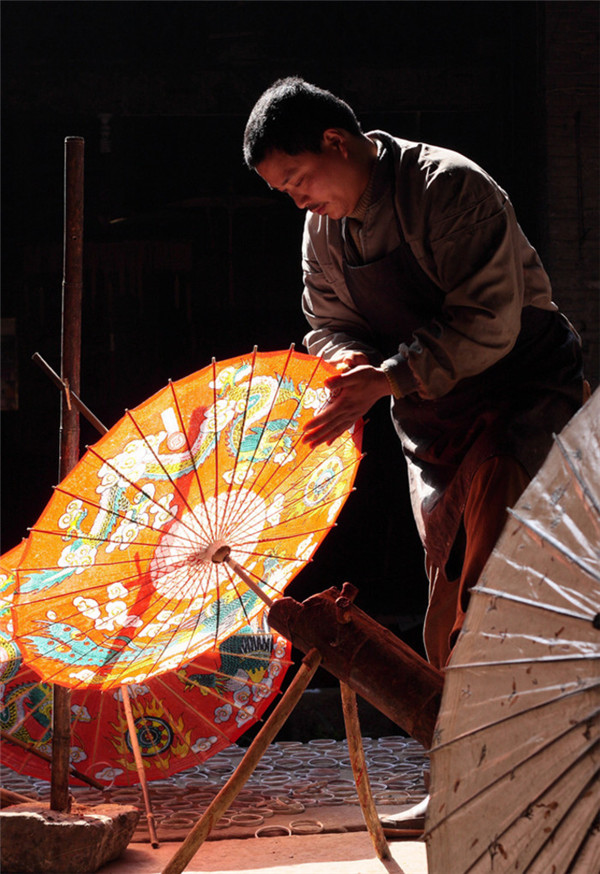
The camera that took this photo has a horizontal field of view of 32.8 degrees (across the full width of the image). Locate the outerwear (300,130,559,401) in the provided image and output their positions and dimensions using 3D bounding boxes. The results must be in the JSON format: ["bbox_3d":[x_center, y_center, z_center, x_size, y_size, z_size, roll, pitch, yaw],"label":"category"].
[{"bbox_3d":[0.231,-0.403,2.359,0.617,0.688,0.427,-6,-9,29],"label":"outerwear"}]

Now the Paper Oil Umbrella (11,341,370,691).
[{"bbox_3d":[-0.284,0.221,2.130,0.871,0.792,0.244,-17,50,-39],"label":"Paper Oil Umbrella"}]

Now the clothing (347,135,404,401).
[{"bbox_3d":[0.204,-0.399,2.394,0.191,0.596,0.211,-2,19,11],"label":"clothing"}]

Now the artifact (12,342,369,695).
[{"bbox_3d":[-0.295,0.200,2.123,0.875,0.791,0.245,-16,50,-41],"label":"artifact"}]
